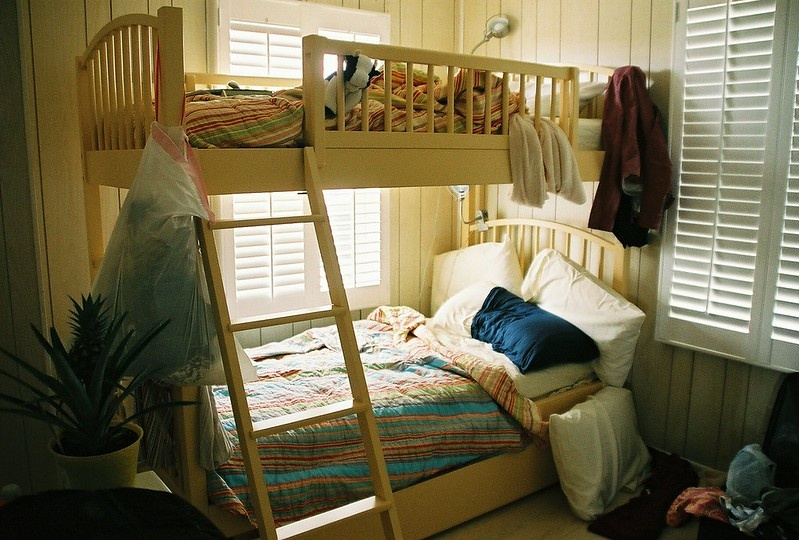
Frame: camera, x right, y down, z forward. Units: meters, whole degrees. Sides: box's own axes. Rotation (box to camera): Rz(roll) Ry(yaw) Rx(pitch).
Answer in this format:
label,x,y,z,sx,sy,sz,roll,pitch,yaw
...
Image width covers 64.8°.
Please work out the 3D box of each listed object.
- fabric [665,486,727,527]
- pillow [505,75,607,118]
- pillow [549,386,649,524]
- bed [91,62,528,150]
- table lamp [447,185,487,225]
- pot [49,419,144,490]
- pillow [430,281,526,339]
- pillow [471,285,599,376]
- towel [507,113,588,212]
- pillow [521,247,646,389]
label,x,y,z,sx,sy,sz,roll,pitch,yaw
fabric,1.535,1.192,3.227,0.266,0.077,0.243,-15,4,-37
pillow,0.951,-1.128,3.781,0.490,0.095,0.499,28,47,32
pillow,1.164,1.019,3.617,0.327,0.557,0.771,4,12,44
bed,-0.287,-0.674,2.921,0.956,0.244,0.958,-2,3,17
table lamp,0.524,-0.450,4.580,0.249,0.238,0.140,-9,3,-6
pot,-1.046,0.696,2.210,0.307,0.225,0.291,1,12,0
pillow,0.508,0.250,4.254,0.616,0.157,0.512,-14,-12,-28
pillow,0.785,0.367,3.921,0.579,0.273,0.889,-7,20,-17
towel,0.719,-0.550,3.204,0.420,0.478,0.146,1,-7,-17
pillow,1.180,0.243,3.841,0.276,0.566,0.840,12,25,-44
